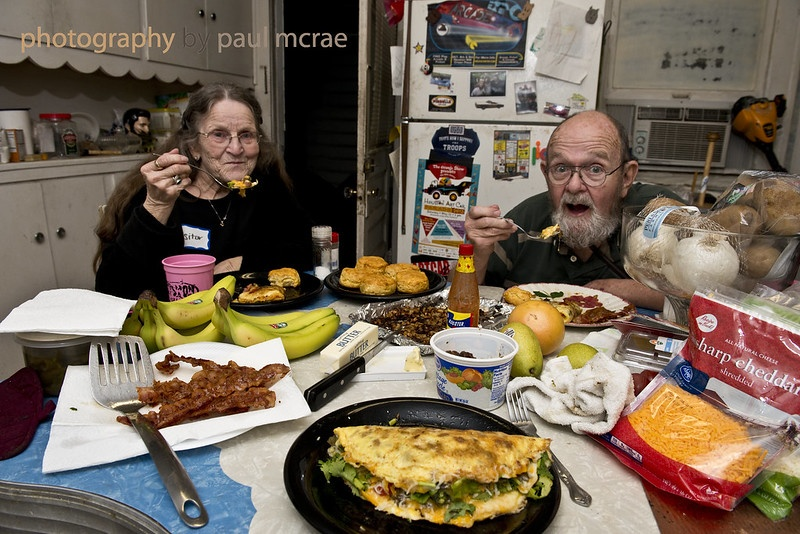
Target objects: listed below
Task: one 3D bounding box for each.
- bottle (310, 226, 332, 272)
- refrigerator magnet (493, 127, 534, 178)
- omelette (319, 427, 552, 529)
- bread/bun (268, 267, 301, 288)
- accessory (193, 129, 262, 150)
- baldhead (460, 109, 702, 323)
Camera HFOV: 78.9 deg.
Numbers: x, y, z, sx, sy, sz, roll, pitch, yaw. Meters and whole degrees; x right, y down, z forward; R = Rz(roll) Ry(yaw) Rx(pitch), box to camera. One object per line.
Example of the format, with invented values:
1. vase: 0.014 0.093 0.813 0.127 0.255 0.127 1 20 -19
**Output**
1. bottle: -0.393 -0.085 2.475 0.098 0.223 0.217 -4 18 -11
2. refrigerator magnet: 0.881 -0.889 3.732 0.376 0.486 0.022 4 20 17
3. omelette: 0.090 0.522 1.231 0.587 0.135 0.199 2 18 7
4. bread/bun: -0.519 0.053 2.201 0.109 0.040 0.088 9 13 36
5. accessory: -0.976 -0.730 2.785 0.303 0.094 0.094 -8 19 -25
6. baldhead: 1.013 -0.350 2.798 1.266 0.910 1.061 2 15 23
